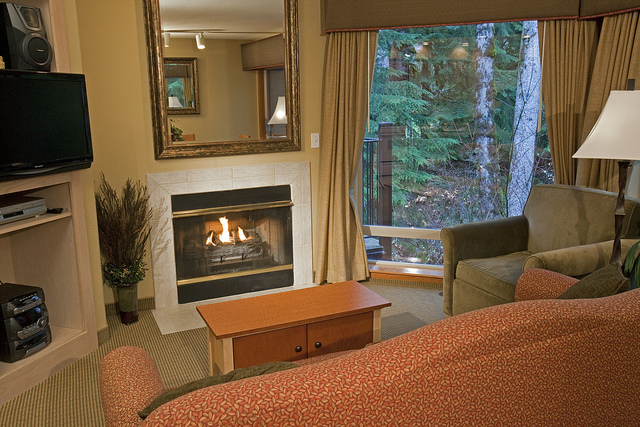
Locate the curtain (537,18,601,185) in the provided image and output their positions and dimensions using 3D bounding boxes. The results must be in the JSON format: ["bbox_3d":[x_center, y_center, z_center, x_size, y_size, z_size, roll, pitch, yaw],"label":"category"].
[{"bbox_3d":[2.295,-1.024,4.161,0.397,1.565,0.137,-3,-1,6],"label":"curtain"}]

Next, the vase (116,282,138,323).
[{"bbox_3d":[-1.754,0.820,4.007,0.230,0.335,0.238,-6,-3,35],"label":"vase"}]

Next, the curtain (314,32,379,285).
[{"bbox_3d":[0.234,-0.511,4.559,0.721,2.531,0.385,-11,14,-32],"label":"curtain"}]
